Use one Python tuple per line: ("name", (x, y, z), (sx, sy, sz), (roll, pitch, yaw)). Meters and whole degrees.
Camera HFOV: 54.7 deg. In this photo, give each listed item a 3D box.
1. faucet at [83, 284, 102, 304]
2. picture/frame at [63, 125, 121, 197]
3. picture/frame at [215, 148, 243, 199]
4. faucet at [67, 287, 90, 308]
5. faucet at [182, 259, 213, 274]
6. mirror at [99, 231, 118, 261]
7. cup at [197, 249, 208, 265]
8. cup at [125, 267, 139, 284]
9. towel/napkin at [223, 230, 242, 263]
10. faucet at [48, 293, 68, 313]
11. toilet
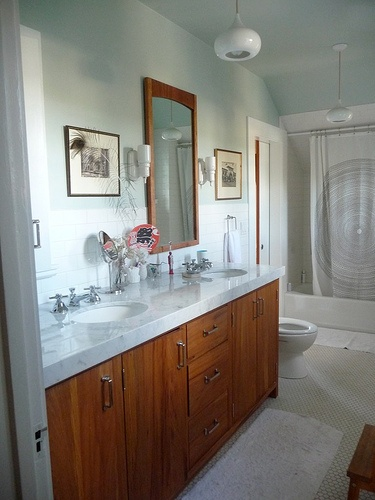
("faucet", (-0.447, 0.210, 1.738), (0.072, 0.086, 0.081), (-1, 6, -7))
("picture/frame", (-0.511, -0.473, 1.921), (0.028, 0.401, 0.413), (2, 4, 30))
("picture/frame", (0.359, -0.701, 3.322), (0.022, 0.492, 0.503), (1, 3, 28))
("faucet", (-0.503, 0.208, 1.691), (0.081, 0.085, 0.157), (-3, 4, -13))
("faucet", (0.055, 0.119, 2.517), (0.079, 0.095, 0.239), (-2, -2, 23))
("mirror", (-0.425, -0.011, 1.981), (0.047, 0.143, 0.110), (-21, -16, 15))
("cup", (0.103, 0.054, 2.749), (0.083, 0.142, 0.082), (0, 10, 0))
("cup", (-0.311, 0.146, 2.109), (0.070, 0.083, 0.082), (-4, 9, -32))
("towel/napkin", (0.393, -0.027, 3.300), (0.110, 0.308, 0.257), (2, 7, 26))
("faucet", (-0.540, 0.236, 1.581), (0.078, 0.086, 0.086), (3, 4, 38))
("toilet", (0.870, 0.826, 3.075), (0.450, 0.418, 0.356), (-1, 6, 41))
